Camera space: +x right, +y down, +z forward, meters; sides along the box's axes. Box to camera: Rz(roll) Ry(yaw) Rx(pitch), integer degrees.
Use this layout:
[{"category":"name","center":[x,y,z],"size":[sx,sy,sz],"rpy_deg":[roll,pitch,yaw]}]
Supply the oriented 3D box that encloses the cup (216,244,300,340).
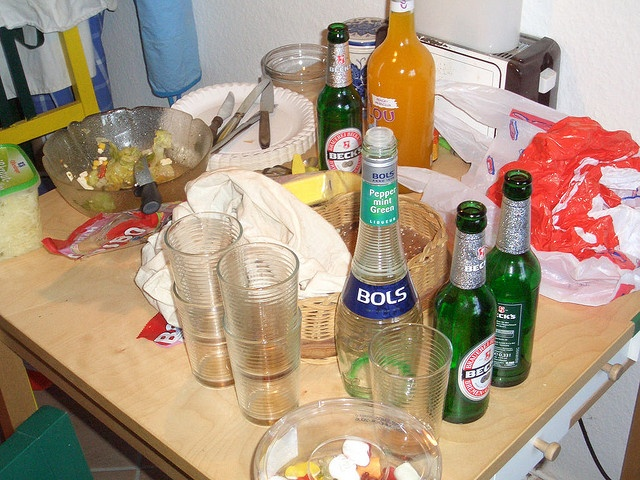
[{"category":"cup","center":[-0.045,0.064,0.587],"size":[0.110,0.107,0.105],"rpy_deg":[-3,-6,0]}]

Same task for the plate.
[{"category":"plate","center":[-0.164,-0.240,1.045],"size":[0.276,0.049,0.252],"rpy_deg":[9,44,13]}]

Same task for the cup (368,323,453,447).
[{"category":"cup","center":[0.093,0.149,0.516],"size":[0.075,0.116,0.074],"rpy_deg":[-4,39,3]}]

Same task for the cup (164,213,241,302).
[{"category":"cup","center":[-0.138,0.020,0.637],"size":[0.099,0.081,0.109],"rpy_deg":[2,45,-2]}]

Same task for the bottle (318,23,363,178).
[{"category":"bottle","center":[0.032,-0.226,0.862],"size":[0.082,0.288,0.077],"rpy_deg":[-2,43,2]}]

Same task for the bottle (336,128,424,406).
[{"category":"bottle","center":[0.071,0.042,0.576],"size":[0.111,0.334,0.111],"rpy_deg":[-3,22,1]}]

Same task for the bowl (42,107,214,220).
[{"category":"bowl","center":[-0.368,-0.127,0.925],"size":[0.273,0.107,0.272],"rpy_deg":[0,45,0]}]

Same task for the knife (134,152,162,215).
[{"category":"knife","center":[-0.283,-0.104,0.819],"size":[0.039,0.027,0.198],"rpy_deg":[-21,32,-7]}]

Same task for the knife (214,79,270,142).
[{"category":"knife","center":[-0.157,-0.272,1.075],"size":[0.189,0.012,0.017],"rpy_deg":[50,31,20]}]
